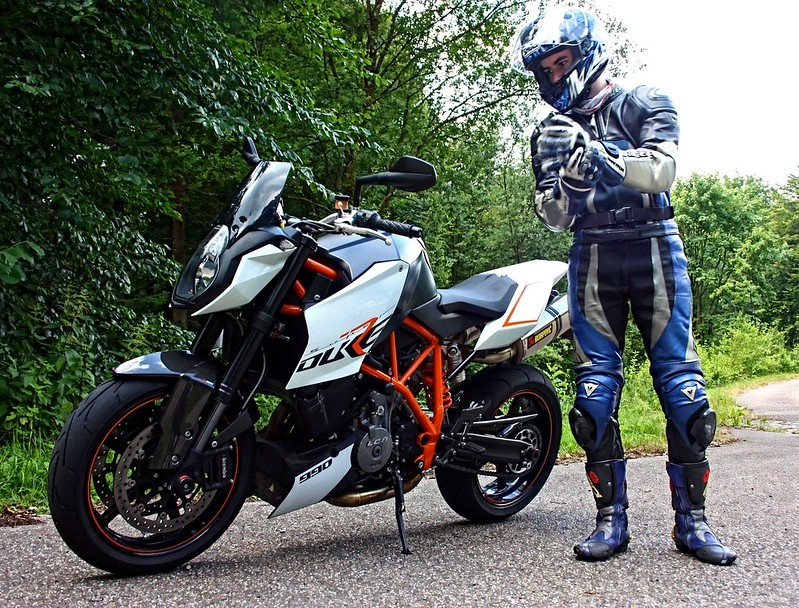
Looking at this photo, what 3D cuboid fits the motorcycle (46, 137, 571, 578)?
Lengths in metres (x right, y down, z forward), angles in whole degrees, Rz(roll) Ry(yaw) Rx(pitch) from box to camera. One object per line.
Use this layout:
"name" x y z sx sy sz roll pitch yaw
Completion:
"motorcycle" -0.159 0.335 3.913 3.537 1.926 1.171 3 -3 -41

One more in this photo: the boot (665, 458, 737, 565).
"boot" 1.580 1.068 3.435 0.187 0.477 0.358 0 1 -24

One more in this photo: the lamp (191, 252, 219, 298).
"lamp" -0.927 -0.136 3.129 0.143 0.171 0.043 14 -10 32

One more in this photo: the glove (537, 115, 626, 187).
"glove" 0.893 -0.724 3.268 0.460 0.304 0.219 7 -21 -12
